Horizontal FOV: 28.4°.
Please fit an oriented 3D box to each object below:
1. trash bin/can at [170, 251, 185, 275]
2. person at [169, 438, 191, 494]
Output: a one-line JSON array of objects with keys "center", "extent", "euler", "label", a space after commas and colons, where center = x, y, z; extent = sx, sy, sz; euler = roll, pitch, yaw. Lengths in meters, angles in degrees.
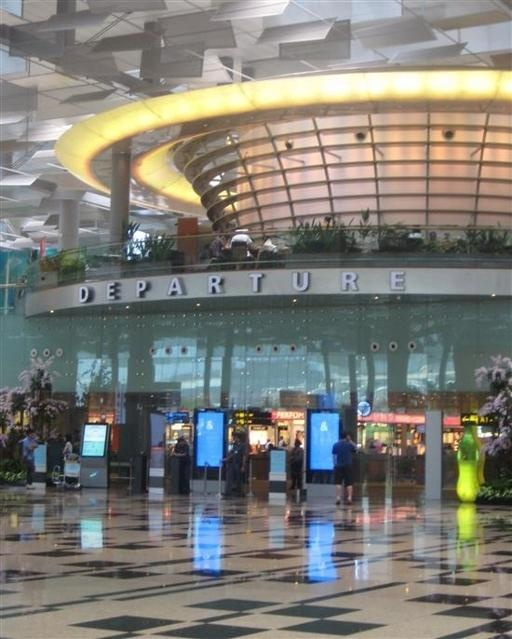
[{"center": [-1.753, -1.292, 22.623], "extent": [0.370, 0.487, 0.207], "euler": [-1, 13, 34], "label": "trash bin/can"}, {"center": [-1.624, 3.112, 21.551], "extent": [0.464, 1.226, 0.455], "euler": [-9, 11, -6], "label": "person"}]
